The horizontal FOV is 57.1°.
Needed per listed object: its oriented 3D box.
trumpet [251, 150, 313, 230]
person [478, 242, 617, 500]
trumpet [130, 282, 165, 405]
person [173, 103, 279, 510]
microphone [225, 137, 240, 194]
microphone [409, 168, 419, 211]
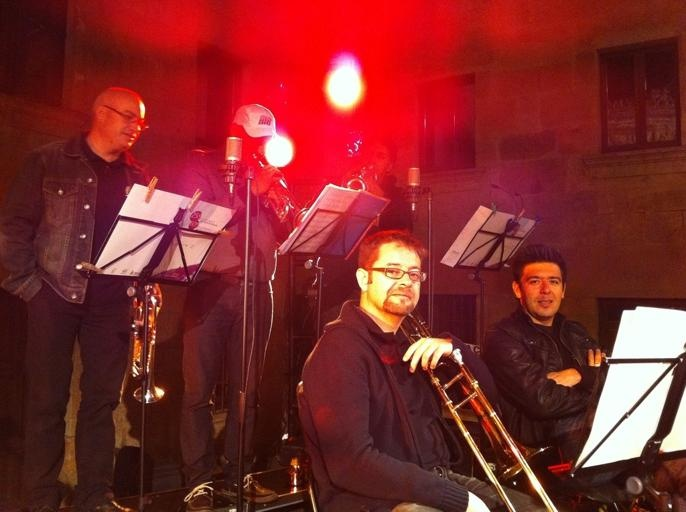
[{"bbox_3d":[-0.506,-0.640,5.542,0.310,0.666,0.375,-41,15,-36],"label":"trumpet"},{"bbox_3d":[1.564,0.788,5.063,0.953,2.032,0.680,3,-4,-29],"label":"person"},{"bbox_3d":[-1.474,0.639,4.700,0.249,0.950,0.297,5,5,-19],"label":"trumpet"},{"bbox_3d":[-0.800,0.402,5.106,0.669,3.126,0.888,3,8,-32],"label":"person"},{"bbox_3d":[-0.819,-0.678,4.702,0.114,0.301,0.159,4,2,-11],"label":"microphone"},{"bbox_3d":[0.779,-0.726,6.904,0.117,0.388,0.212,4,2,6],"label":"microphone"}]
